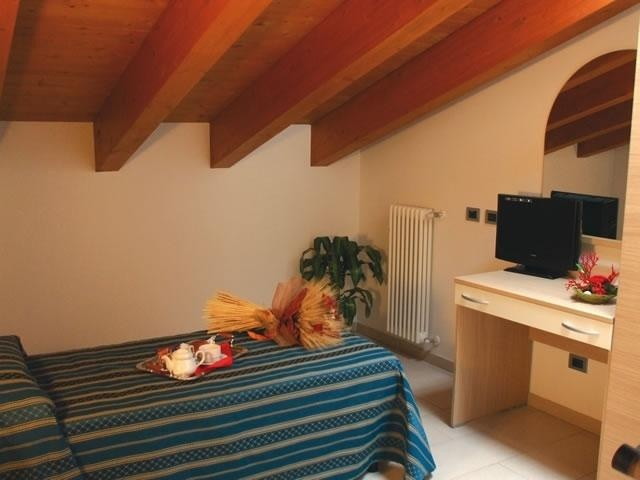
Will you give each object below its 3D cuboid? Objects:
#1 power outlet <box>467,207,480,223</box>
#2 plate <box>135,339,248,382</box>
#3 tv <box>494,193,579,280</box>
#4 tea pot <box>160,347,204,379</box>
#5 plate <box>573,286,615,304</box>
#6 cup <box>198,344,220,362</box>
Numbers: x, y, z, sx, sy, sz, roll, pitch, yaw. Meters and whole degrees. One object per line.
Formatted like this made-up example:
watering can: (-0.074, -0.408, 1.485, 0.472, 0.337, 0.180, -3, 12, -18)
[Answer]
power outlet: (1.280, -0.212, 3.809, 0.018, 0.119, 0.132, -7, 15, -34)
plate: (-0.671, 0.668, 2.483, 0.269, 0.101, 0.307, 9, 12, 38)
tv: (1.521, -0.025, 3.150, 0.231, 0.487, 0.547, -7, 10, -41)
tea pot: (-0.718, 0.631, 2.355, 0.188, 0.149, 0.129, 2, -1, -21)
plate: (1.619, 0.329, 2.688, 0.221, 0.071, 0.167, 10, 15, 32)
cup: (-0.603, 0.623, 2.488, 0.095, 0.072, 0.101, 0, 7, 0)
